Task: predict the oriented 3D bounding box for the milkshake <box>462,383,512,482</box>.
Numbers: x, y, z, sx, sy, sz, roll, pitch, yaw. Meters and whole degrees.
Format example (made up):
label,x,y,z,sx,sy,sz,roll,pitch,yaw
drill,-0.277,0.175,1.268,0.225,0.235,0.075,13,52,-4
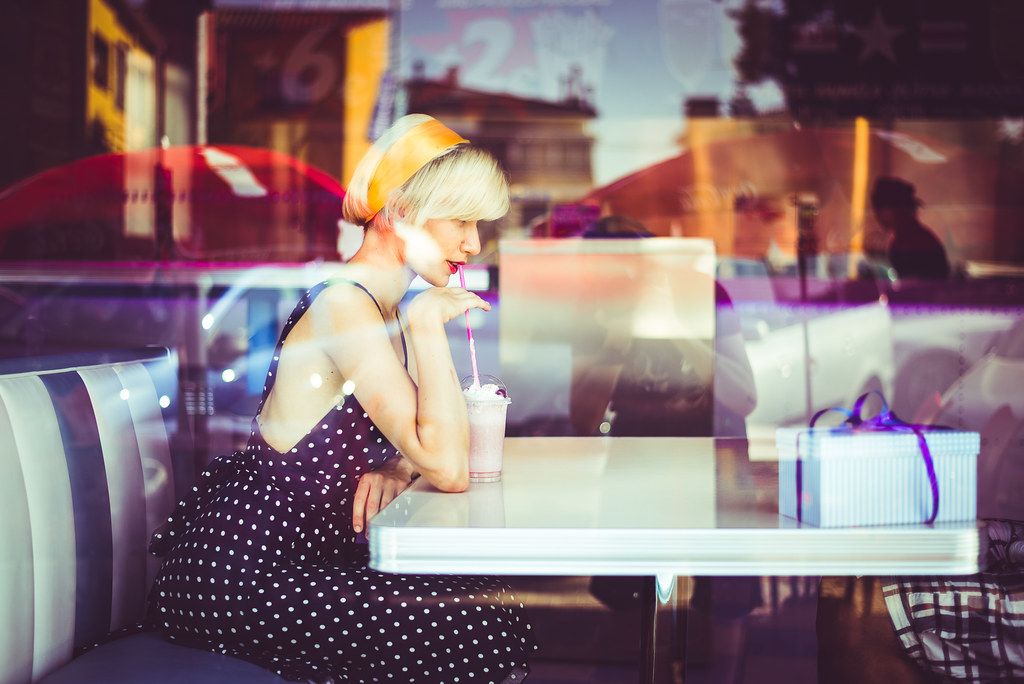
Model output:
label,x,y,z,sx,sy,sz,roll,pitch,yaw
milkshake,-0.069,0.240,2.903,0.190,0.198,0.303,0,87,-3
